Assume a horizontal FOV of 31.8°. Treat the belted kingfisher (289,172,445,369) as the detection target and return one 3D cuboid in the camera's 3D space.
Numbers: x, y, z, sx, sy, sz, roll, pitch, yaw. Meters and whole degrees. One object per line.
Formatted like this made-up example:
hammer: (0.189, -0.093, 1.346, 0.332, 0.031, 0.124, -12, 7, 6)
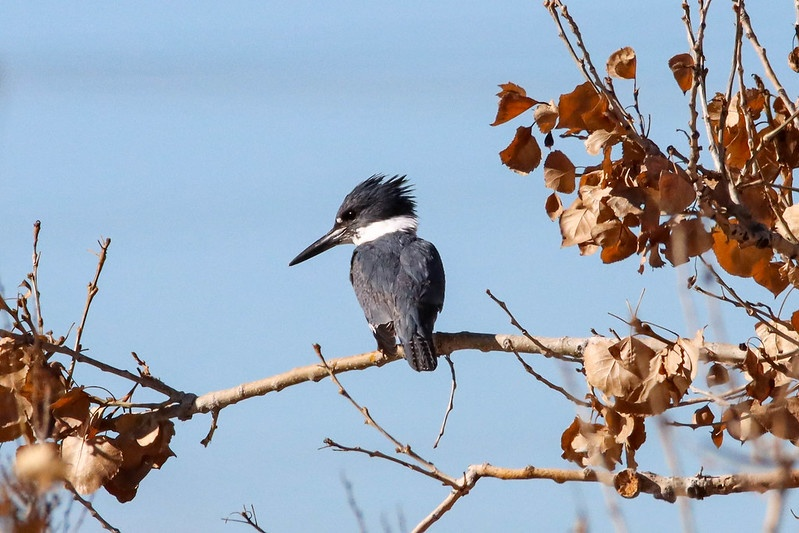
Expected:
belted kingfisher: (-0.096, -0.057, 8.908, 0.610, 1.681, 0.967, -1, -60, -19)
